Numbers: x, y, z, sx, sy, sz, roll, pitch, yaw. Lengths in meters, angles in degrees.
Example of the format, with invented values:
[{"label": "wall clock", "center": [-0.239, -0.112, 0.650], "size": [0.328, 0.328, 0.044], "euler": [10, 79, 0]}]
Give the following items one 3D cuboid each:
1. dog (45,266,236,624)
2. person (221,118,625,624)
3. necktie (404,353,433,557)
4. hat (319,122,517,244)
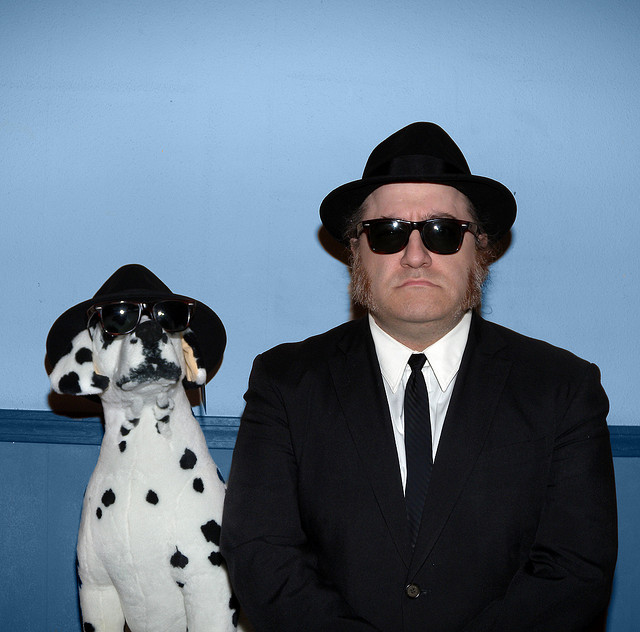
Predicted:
[{"label": "dog", "center": [-0.545, 0.441, 2.678], "size": [0.585, 1.022, 0.297], "euler": [3, -1, -15]}, {"label": "person", "center": [0.304, 0.130, 2.620], "size": [1.110, 1.232, 0.545], "euler": [3, -1, 3]}, {"label": "necktie", "center": [0.284, 0.378, 2.539], "size": [0.065, 0.538, 0.059], "euler": [2, -23, 3]}, {"label": "hat", "center": [0.336, -0.486, 2.896], "size": [0.638, 0.267, 0.618], "euler": [0, -2, 5]}]
